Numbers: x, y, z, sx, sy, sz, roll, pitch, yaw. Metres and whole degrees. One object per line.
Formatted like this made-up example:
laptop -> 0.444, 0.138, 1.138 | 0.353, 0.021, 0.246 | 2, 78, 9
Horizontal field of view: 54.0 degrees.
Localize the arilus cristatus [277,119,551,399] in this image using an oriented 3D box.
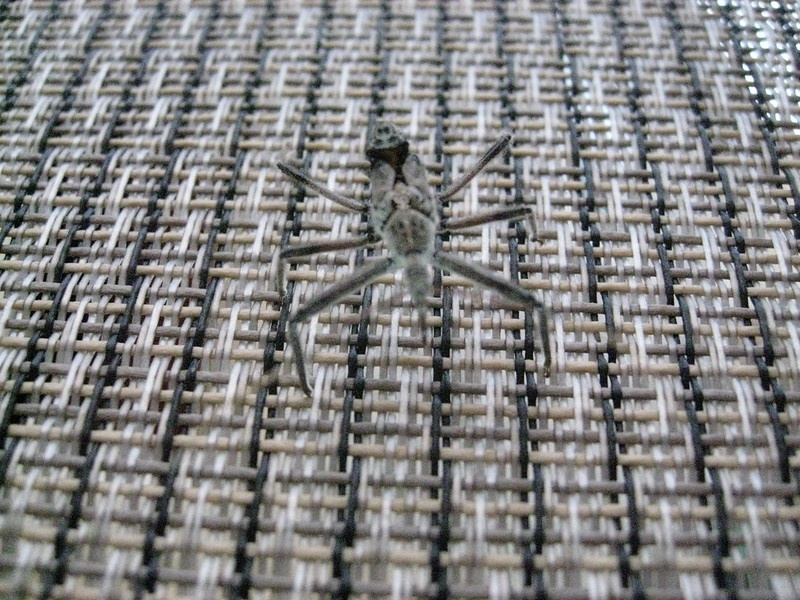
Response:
arilus cristatus -> 0.011, -0.078, 1.153 | 0.399, 0.165, 0.368 | -6, 58, -1
